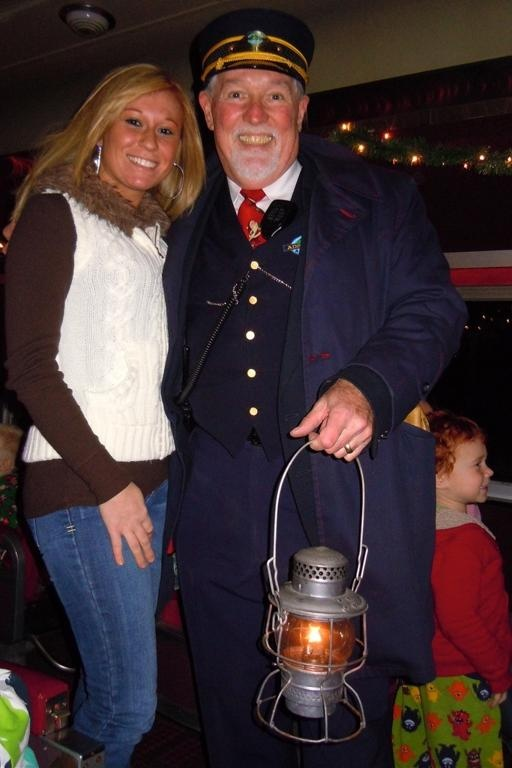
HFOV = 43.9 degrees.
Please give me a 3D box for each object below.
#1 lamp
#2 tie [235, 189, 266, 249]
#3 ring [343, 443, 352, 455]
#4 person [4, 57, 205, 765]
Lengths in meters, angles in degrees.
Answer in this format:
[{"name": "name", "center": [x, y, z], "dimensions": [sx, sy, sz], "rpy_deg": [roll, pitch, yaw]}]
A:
[{"name": "lamp", "center": [0.108, 0.341, 1.112], "dimensions": [0.215, 0.478, 0.204], "rpy_deg": [7, -5, -21]}, {"name": "tie", "center": [-0.003, -0.471, 1.811], "dimensions": [0.094, 0.162, 0.039], "rpy_deg": [-24, -32, 25]}, {"name": "ring", "center": [0.175, 0.124, 1.205], "dimensions": [0.007, 0.019, 0.019], "rpy_deg": [-20, -26, -5]}, {"name": "person", "center": [-0.409, 0.057, 1.660], "dimensions": [0.392, 1.766, 0.611], "rpy_deg": [2, 10, -1]}]
